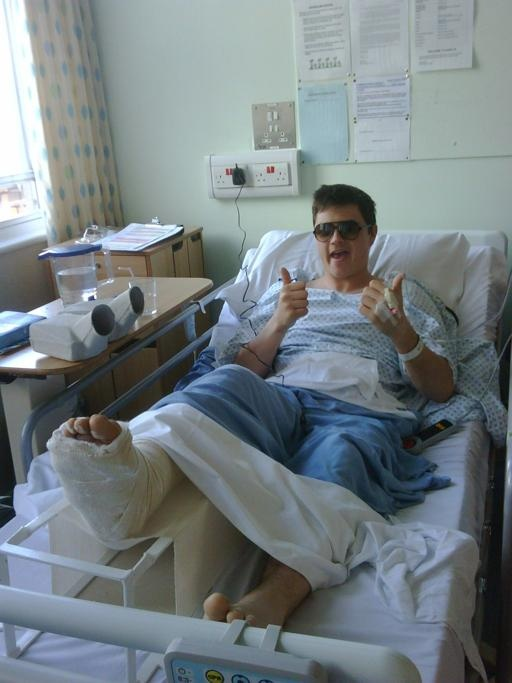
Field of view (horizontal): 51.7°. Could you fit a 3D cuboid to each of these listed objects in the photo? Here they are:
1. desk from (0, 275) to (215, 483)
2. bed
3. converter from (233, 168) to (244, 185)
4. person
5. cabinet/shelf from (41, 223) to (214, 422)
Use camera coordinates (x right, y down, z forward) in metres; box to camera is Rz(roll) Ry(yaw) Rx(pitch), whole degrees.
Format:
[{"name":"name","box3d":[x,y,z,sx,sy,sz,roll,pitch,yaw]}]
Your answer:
[{"name":"desk","box3d":[-0.413,0.087,1.453,0.390,0.361,0.739,6,28,18]},{"name":"bed","box3d":[0.225,0.016,1.293,0.673,0.447,1.381,5,16,19]},{"name":"converter","box3d":[-0.083,-0.792,2.509,0.045,0.080,0.044,7,41,11]},{"name":"person","box3d":[0.004,0.019,1.329,0.570,0.747,1.220,4,9,32]},{"name":"cabinet/shelf","box3d":[-0.459,-0.066,1.843,0.339,0.626,0.648,10,32,22]}]
